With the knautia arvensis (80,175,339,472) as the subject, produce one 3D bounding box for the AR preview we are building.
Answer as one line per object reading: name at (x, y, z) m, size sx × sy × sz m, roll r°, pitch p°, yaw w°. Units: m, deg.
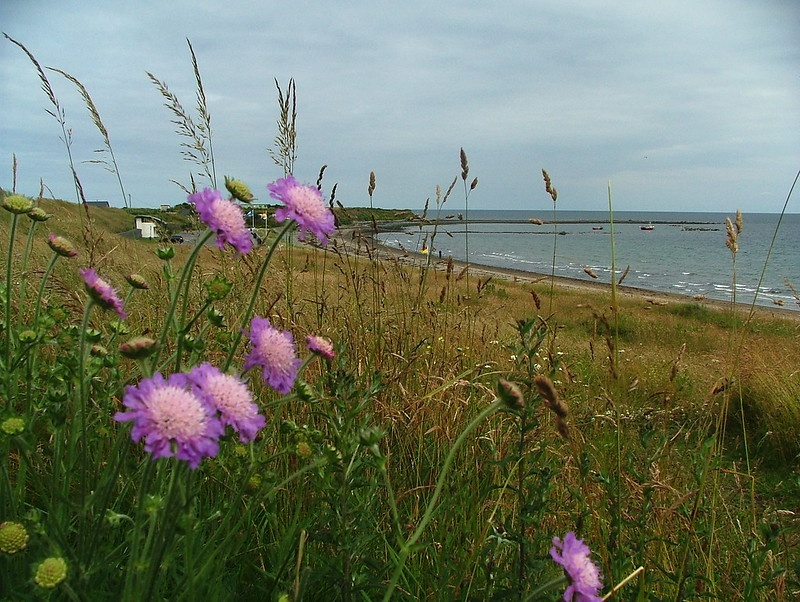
knautia arvensis at (-0.521, 0.136, 1.757) m, size 0.608 × 1.027 × 0.775 m, roll -1°, pitch 11°, yaw -4°
